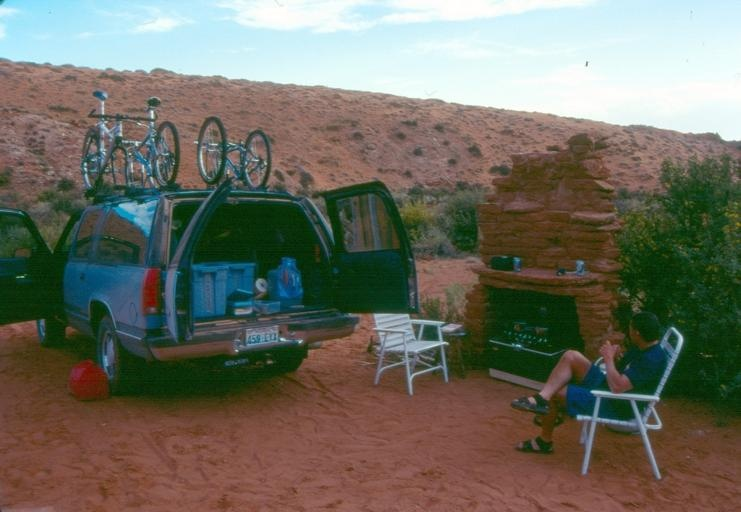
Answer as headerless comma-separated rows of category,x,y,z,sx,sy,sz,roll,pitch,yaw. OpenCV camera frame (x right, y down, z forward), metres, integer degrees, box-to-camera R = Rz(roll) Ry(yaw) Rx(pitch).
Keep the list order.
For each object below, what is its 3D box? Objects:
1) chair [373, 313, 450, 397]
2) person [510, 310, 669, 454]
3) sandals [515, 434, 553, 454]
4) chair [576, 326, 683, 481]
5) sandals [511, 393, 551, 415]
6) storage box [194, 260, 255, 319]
chair,0.547,1.226,8.135,0.833,0.914,0.888,2,6,33
person,2.232,1.366,6.268,1.577,1.492,0.916,3,-4,13
sandals,1.708,1.959,6.296,0.350,0.123,0.169,2,-3,17
chair,2.630,1.382,6.174,0.833,1.408,1.242,8,13,24
sandals,1.653,1.508,6.228,0.508,0.182,0.158,11,-7,4
storage box,-1.707,0.355,7.079,0.648,0.583,0.928,5,4,39
